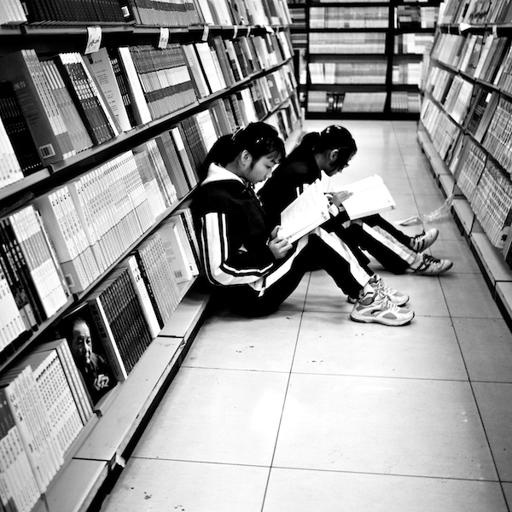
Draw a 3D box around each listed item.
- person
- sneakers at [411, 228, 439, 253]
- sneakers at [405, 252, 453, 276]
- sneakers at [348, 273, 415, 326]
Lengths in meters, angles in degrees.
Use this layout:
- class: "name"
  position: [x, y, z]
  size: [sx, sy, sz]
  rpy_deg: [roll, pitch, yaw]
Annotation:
- class: "person"
  position: [0.284, -0.171, 2.181]
  size: [1.187, 1.004, 0.647]
  rpy_deg: [1, 16, 3]
- class: "sneakers"
  position: [1.281, -0.110, 3.037]
  size: [0.196, 0.092, 0.065]
  rpy_deg: [-37, 41, -9]
- class: "sneakers"
  position: [1.152, 0.051, 2.799]
  size: [0.363, 0.172, 0.131]
  rpy_deg: [-3, 37, 13]
- class: "sneakers"
  position: [0.715, 0.256, 2.264]
  size: [0.273, 0.158, 0.291]
  rpy_deg: [1, 20, 4]
